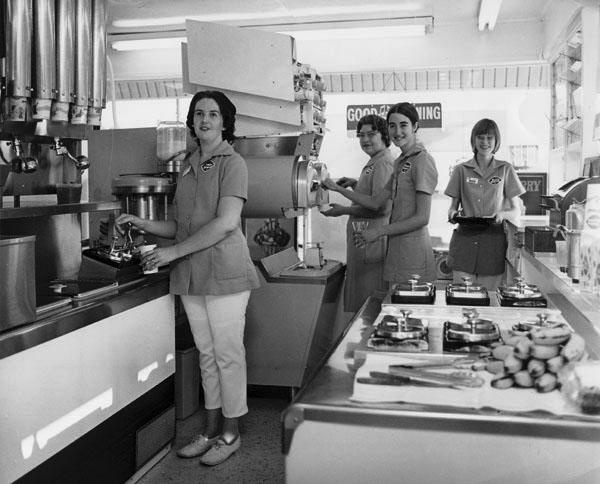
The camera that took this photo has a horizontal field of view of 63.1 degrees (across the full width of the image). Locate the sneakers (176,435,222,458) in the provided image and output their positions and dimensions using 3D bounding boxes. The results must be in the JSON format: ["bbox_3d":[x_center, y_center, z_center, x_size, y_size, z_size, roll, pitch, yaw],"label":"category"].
[{"bbox_3d":[-0.553,1.096,2.679,0.236,0.098,0.084,-6,4,-35],"label":"sneakers"}]

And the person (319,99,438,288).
[{"bbox_3d":[0.659,-0.269,3.189,0.445,1.230,0.749,0,11,15],"label":"person"}]

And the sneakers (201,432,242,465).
[{"bbox_3d":[-0.418,1.096,2.622,0.084,0.091,0.240,11,13,32],"label":"sneakers"}]

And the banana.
[{"bbox_3d":[0.573,0.267,1.215,0.297,0.109,0.217,-9,13,-28],"label":"banana"}]

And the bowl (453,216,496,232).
[{"bbox_3d":[1.234,-0.124,3.439,0.273,0.122,0.189,2,12,22],"label":"bowl"}]

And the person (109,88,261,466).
[{"bbox_3d":[-0.528,0.197,2.626,0.552,1.951,0.549,-5,11,-14],"label":"person"}]

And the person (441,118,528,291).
[{"bbox_3d":[1.354,-0.248,3.618,0.549,1.282,0.661,2,11,24],"label":"person"}]
